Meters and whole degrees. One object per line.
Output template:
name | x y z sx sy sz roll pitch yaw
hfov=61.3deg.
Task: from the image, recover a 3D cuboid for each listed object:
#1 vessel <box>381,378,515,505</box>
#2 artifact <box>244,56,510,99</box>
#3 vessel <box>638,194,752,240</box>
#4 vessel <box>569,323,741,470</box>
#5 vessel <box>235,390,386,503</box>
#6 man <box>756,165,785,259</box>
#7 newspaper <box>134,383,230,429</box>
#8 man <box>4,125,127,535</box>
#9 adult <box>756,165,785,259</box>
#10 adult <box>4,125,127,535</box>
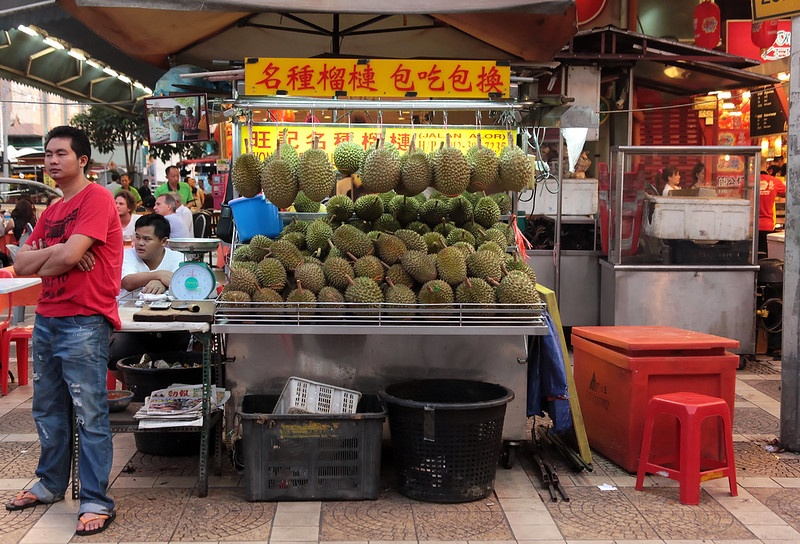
vessel | 0.350 1.189 4.727 0.806 0.578 0.835 1 2 26
artifact | -0.183 -1.471 5.125 2.004 0.277 0.174 1 12 1
vessel | 3.215 -0.566 7.393 0.784 0.355 0.569 1 3 0
vessel | 1.995 0.766 5.300 1.006 1.067 1.227 -1 2 -10
vessel | -0.587 1.209 4.545 0.816 0.492 0.625 0 -4 -3
man | 5.076 -0.834 9.280 0.303 1.045 1.909 7 14 28
newspaper | -1.563 0.949 4.692 0.350 0.089 0.369 1 12 -3
man | -2.154 0.345 4.315 0.736 2.488 0.711 3 12 12
adult | 5.031 -0.820 9.212 0.291 1.045 1.744 7 14 28
adult | -2.156 0.345 4.314 0.736 2.488 0.713 3 12 11
